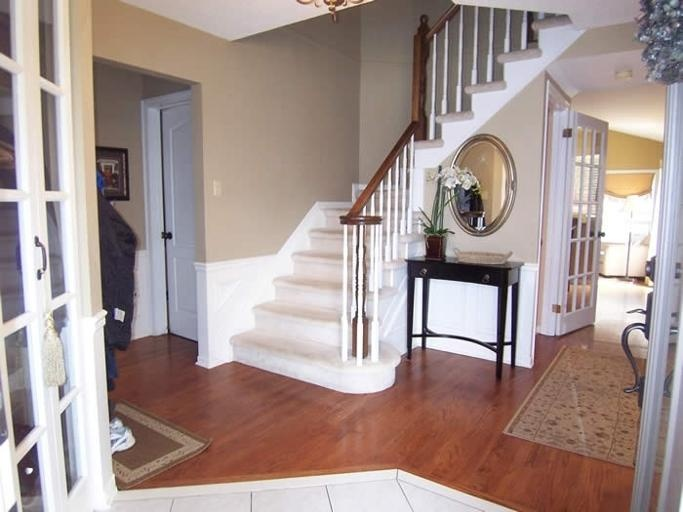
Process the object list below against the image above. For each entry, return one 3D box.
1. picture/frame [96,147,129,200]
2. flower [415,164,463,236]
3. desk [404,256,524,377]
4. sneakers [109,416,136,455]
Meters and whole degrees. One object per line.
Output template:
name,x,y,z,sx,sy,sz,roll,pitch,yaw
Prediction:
picture/frame,-2.067,-0.727,4.753,0.416,0.457,0.023,3,4,22
flower,0.815,-0.472,4.811,0.528,0.850,0.380,1,7,13
desk,1.058,0.507,4.487,0.809,0.885,0.368,5,9,38
sneakers,-1.336,1.119,3.330,0.159,0.066,0.209,15,11,34
